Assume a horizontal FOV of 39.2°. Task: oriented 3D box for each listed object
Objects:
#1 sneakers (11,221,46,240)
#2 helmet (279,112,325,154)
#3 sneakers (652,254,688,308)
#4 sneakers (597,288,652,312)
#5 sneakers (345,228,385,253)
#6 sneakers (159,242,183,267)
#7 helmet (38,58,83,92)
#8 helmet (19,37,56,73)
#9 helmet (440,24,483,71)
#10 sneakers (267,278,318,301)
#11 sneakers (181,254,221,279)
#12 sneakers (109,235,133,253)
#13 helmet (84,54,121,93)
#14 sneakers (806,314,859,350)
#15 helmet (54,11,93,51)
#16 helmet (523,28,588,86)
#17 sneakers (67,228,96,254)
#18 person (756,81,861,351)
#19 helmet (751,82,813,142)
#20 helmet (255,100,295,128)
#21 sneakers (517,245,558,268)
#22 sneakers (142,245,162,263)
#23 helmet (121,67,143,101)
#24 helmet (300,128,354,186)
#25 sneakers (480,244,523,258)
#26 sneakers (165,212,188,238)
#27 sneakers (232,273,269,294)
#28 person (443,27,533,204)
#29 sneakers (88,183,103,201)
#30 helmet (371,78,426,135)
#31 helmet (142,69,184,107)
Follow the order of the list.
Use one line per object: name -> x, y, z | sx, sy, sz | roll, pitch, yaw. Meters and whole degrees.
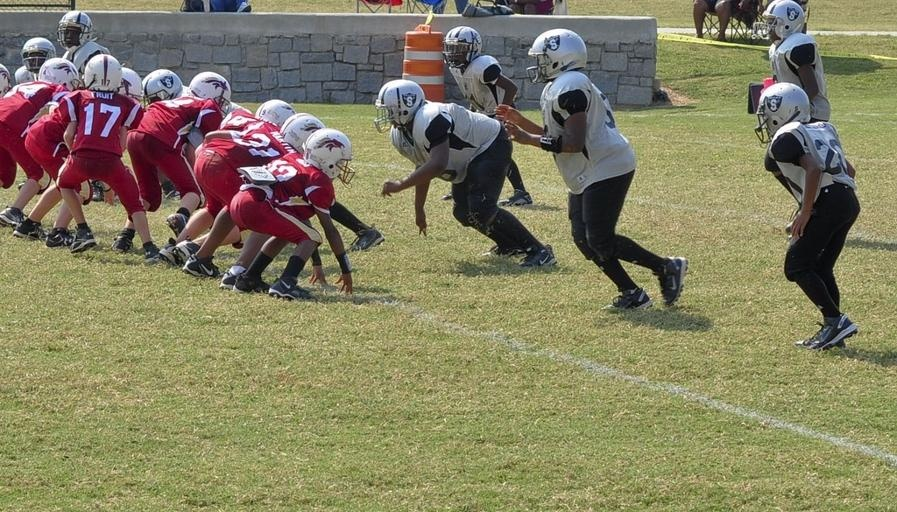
sneakers -> -4.602, -0.290, 13.855 | 0.454, 0.165, 0.139 | 1, 42, -16
helmet -> -1.545, -1.359, 13.240 | 0.316, 0.302, 0.418 | 27, 37, 35
sneakers -> 2.229, 0.215, 12.555 | 0.341, 0.524, 0.202 | -6, 22, -11
sneakers -> 1.717, 0.433, 12.444 | 0.603, 0.207, 0.177 | -1, 12, 0
sneakers -> -0.871, -0.183, 13.977 | 0.516, 0.149, 0.263 | -17, -23, 27
sneakers -> -2.887, -0.012, 13.165 | 0.122, 0.234, 0.156 | -42, 22, 16
helmet -> -4.467, -2.054, 14.535 | 0.380, 0.374, 0.477 | 7, 1, 41
helmet -> -4.962, -2.398, 15.047 | 0.360, 0.314, 0.381 | -6, -6, -12
helmet -> 0.149, -2.474, 14.853 | 0.464, 0.421, 0.535 | 7, 17, 33
sneakers -> -1.598, 0.325, 12.606 | 0.571, 0.191, 0.176 | 10, 6, -9
sneakers -> -2.536, 0.122, 12.919 | 0.486, 0.203, 0.152 | 11, 36, -27
sneakers -> -3.535, -0.139, 13.651 | 0.207, 0.170, 0.153 | -1, 10, -13
helmet -> -3.810, -1.992, 13.691 | 0.490, 0.418, 0.576 | -2, 7, -33
sneakers -> 3.619, 0.705, 11.766 | 0.532, 0.239, 0.201 | -35, -20, 33
helmet -> -4.699, -2.850, 15.877 | 0.366, 0.463, 0.479 | -2, 10, -18
helmet -> 1.170, -1.992, 12.432 | 0.706, 0.439, 0.474 | -3, 11, 23
sneakers -> -3.907, -0.170, 13.450 | 0.258, 0.263, 0.252 | -2, 10, -14
person -> 3.384, -0.378, 11.776 | 0.680, 2.429, 0.960 | -8, 13, -40
helmet -> 3.280, -1.366, 12.038 | 0.500, 0.516, 0.622 | -9, 2, -39
helmet -> -1.867, -1.559, 13.786 | 0.382, 0.291, 0.423 | -12, -15, 19
sneakers -> 0.989, 0.012, 13.570 | 0.479, 0.166, 0.166 | -5, 4, -4
sneakers -> -3.123, -0.044, 13.293 | 0.157, 0.183, 0.266 | -1, 10, -12
helmet -> -3.518, -1.924, 14.038 | 0.230, 0.364, 0.476 | -2, 10, -14
helmet -> -1.265, -1.010, 12.759 | 0.623, 0.468, 0.467 | 10, -4, -37
sneakers -> 0.636, -0.061, 13.924 | 0.499, 0.176, 0.144 | -4, 27, 8
sneakers -> -2.887, -0.302, 13.516 | 0.145, 0.361, 0.155 | -21, 49, 0
sneakers -> -1.968, 0.279, 12.593 | 0.435, 0.142, 0.153 | 0, 9, -22
person -> 0.391, -1.647, 15.006 | 1.165, 2.052, 1.014 | 0, -3, 43
sneakers -> -4.344, -0.809, 15.603 | 0.145, 0.214, 0.375 | -2, 10, -14
helmet -> -0.486, -1.594, 13.213 | 0.670, 0.449, 0.473 | -14, 11, -15
helmet -> -3.296, -1.912, 14.356 | 0.522, 0.372, 0.383 | -24, 13, -33
